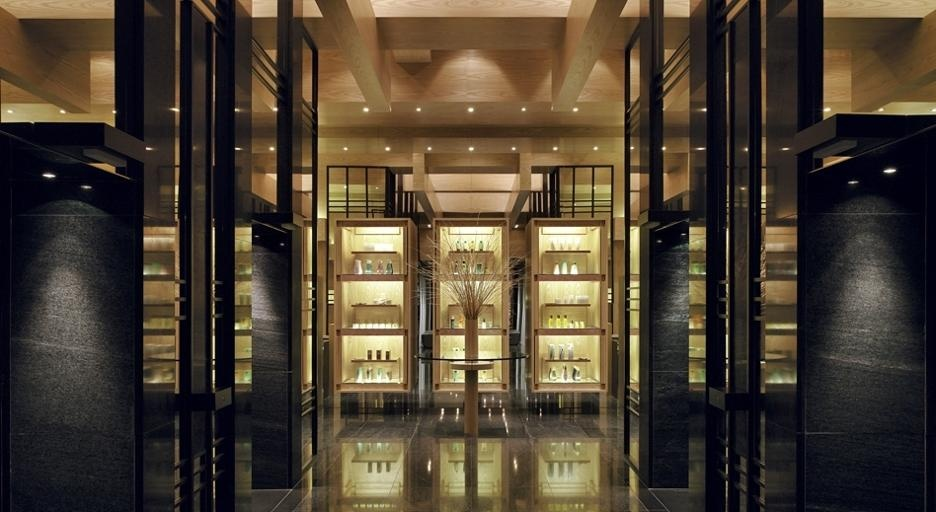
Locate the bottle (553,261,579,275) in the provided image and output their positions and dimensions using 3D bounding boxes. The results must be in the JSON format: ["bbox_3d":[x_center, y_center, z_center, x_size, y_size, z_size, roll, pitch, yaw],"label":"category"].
[{"bbox_3d":[1.339,0.166,10.790,0.232,0.223,0.123,-3,85,28],"label":"bottle"}]

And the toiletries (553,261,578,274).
[{"bbox_3d":[1.319,0.167,10.795,0.227,0.235,0.125,-7,81,48],"label":"toiletries"}]

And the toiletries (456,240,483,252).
[{"bbox_3d":[0.035,-0.138,10.907,0.504,0.137,0.157,0,87,0],"label":"toiletries"}]

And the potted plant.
[{"bbox_3d":[0.368,0.572,11.106,1.315,1.280,1.947,-2,85,34],"label":"potted plant"}]

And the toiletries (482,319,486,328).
[{"bbox_3d":[0.212,0.946,10.862,0.085,0.077,0.128,1,88,1],"label":"toiletries"}]
